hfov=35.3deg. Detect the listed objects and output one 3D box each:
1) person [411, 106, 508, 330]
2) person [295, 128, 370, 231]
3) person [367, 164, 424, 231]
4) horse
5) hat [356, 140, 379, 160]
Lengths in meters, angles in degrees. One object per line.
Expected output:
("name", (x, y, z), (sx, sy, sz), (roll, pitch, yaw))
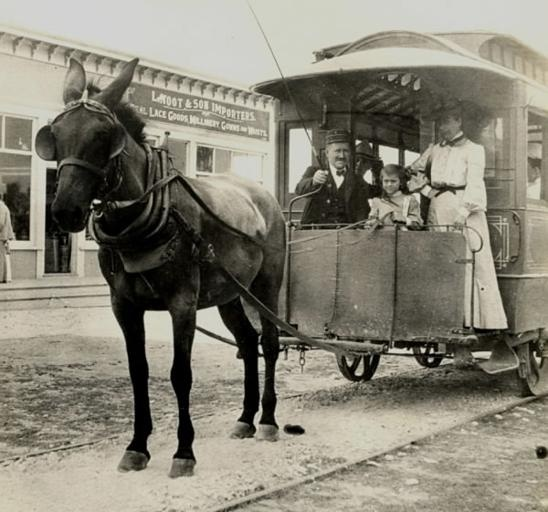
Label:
("person", (1.663, -0.386, 8.072), (0.963, 2.081, 0.949), (-4, -13, 26))
("person", (0.589, -0.692, 8.286), (0.736, 1.040, 0.660), (3, -1, -24))
("person", (1.146, -0.553, 8.045), (0.633, 0.771, 0.451), (-2, -5, 28))
("horse", (-0.648, 0.065, 6.100), (0.999, 2.735, 2.401), (4, 5, 21))
("hat", (0.936, -1.074, 8.623), (0.198, 0.119, 0.195), (-2, 4, -31))
